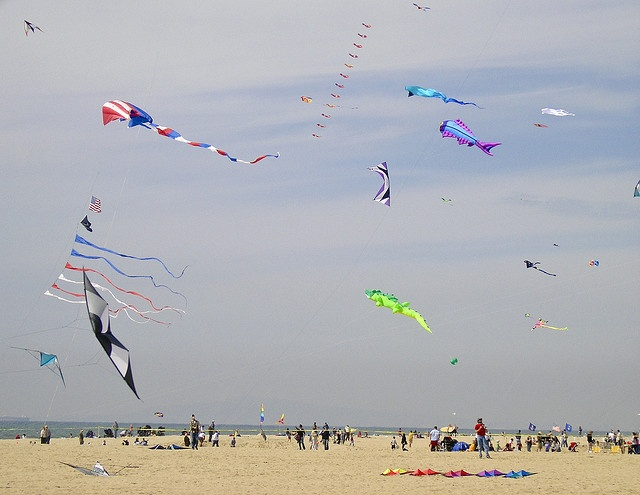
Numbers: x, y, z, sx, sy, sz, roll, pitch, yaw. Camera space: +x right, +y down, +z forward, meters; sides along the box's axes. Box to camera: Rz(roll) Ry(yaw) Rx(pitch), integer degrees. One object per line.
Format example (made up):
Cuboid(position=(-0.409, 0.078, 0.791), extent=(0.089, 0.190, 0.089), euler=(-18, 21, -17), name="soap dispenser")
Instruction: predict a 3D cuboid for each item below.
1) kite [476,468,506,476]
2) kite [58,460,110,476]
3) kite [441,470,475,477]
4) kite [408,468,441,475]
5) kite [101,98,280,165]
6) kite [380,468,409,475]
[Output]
Cuboid(position=(6.432, 8.494, 46.086), extent=(1.089, 0.239, 0.698), euler=(1, -8, -4), name="kite")
Cuboid(position=(-8.555, 8.227, 45.448), extent=(1.488, 0.460, 2.298), euler=(4, -9, -23), name="kite")
Cuboid(position=(5.223, 8.535, 46.245), extent=(1.195, 0.237, 1.195), euler=(1, -8, -6), name="kite")
Cuboid(position=(4.022, 8.537, 46.529), extent=(1.158, 0.220, 0.823), euler=(0, -8, 3), name="kite")
Cuboid(position=(-5.149, -4.535, 48.629), extent=(6.846, 0.896, 1.122), euler=(17, 21, -4), name="kite")
Cuboid(position=(2.896, 8.594, 46.844), extent=(1.060, 0.212, 1.087), euler=(0, -8, 1), name="kite")
